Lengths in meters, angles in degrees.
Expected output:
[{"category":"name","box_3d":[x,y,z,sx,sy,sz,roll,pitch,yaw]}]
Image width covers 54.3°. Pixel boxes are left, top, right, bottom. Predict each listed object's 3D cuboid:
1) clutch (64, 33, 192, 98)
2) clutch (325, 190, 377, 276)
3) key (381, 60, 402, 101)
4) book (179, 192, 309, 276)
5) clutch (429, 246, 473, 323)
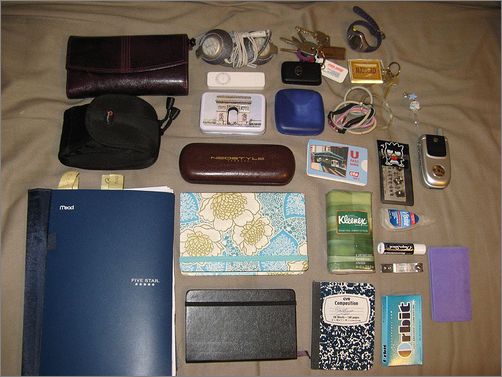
[{"category":"clutch","box_3d":[-0.517,-0.504,2.026,0.456,0.108,0.277,-1,86,-2]},{"category":"clutch","box_3d":[0.438,0.167,2.017,0.197,0.110,0.339,0,97,30]},{"category":"key","box_3d":[0.620,-0.482,2.188,0.092,0.266,0.036,35,74,19]},{"category":"book","box_3d":[-0.032,0.184,1.969,0.491,0.096,0.337,-1,80,-3]},{"category":"clutch","box_3d":[0.829,0.404,2.024,0.028,0.166,0.295,11,76,-38]}]
